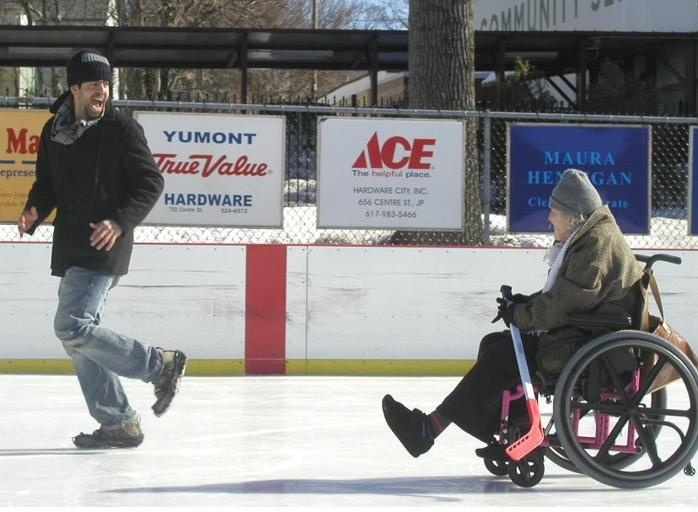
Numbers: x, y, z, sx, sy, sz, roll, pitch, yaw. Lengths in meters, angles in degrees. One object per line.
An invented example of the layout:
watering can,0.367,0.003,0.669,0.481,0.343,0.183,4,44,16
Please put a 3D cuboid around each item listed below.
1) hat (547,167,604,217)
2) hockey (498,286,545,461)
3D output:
hat,2.085,-0.604,12.950,0.431,0.506,0.372,-4,10,-14
hockey,1.599,1.080,12.753,0.408,1.556,0.563,1,10,6
